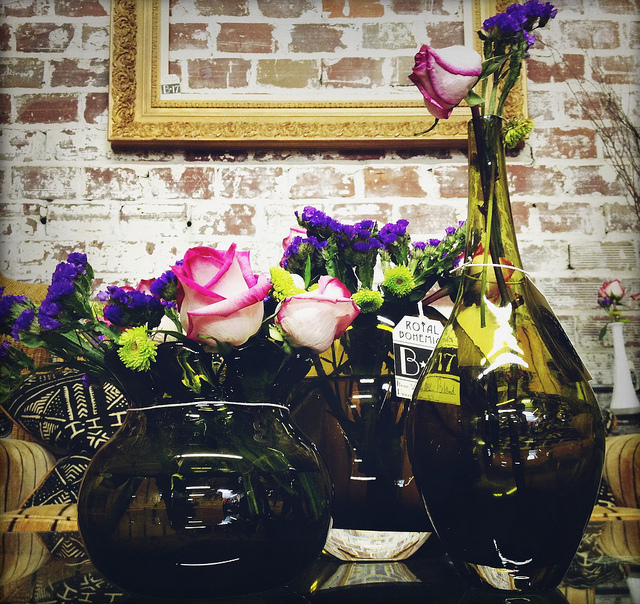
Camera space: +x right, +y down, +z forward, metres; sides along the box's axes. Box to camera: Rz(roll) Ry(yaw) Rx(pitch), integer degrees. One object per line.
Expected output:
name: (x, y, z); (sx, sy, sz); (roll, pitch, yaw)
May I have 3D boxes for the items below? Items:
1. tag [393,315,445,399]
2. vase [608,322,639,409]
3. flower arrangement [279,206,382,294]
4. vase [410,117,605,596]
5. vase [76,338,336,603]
tag: (0.134, 0.082, 1.322); (0.115, 0.148, 0.002); (6, -30, -4)
vase: (0.673, 0.139, 2.117); (0.059, 0.183, 0.162); (1, 6, 12)
flower arrangement: (0.015, -0.074, 1.357); (0.126, 0.132, 0.129); (-19, -2, -21)
vase: (0.246, 0.067, 1.255); (0.253, 0.618, 0.119); (1, 5, 14)
vase: (-0.145, 0.249, 1.400); (0.340, 0.380, 0.323); (0, -15, -6)
